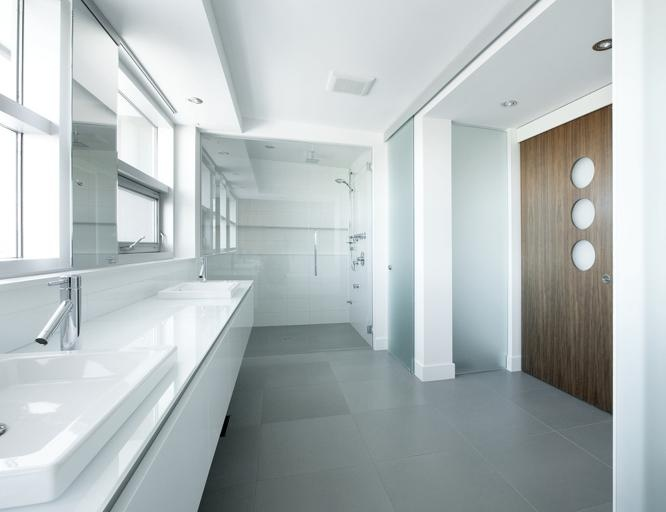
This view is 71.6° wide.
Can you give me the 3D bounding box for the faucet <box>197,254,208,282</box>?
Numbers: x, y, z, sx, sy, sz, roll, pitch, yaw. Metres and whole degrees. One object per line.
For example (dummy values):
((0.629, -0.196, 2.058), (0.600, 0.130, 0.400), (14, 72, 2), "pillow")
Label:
((-1.183, 0.112, 4.181), (0.088, 0.276, 0.496), (-4, 15, -15), "faucet")
